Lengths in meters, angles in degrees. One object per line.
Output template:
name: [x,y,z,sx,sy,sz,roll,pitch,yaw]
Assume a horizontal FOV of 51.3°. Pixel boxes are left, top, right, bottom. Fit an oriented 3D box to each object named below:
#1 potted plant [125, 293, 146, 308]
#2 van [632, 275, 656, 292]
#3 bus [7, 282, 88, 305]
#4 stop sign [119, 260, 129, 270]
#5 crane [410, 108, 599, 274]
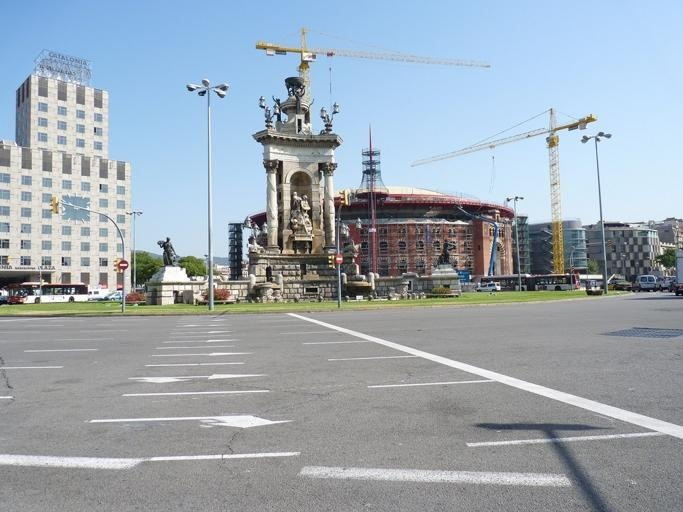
potted plant: [-14.484,3.193,49.718,1.908,0.880,2.565,0,-2,-8]
van: [31.817,2.953,74.404,2.308,1.988,4.104,-1,2,28]
bus: [-31.146,4.031,75.315,6.461,3.445,4.746,1,-3,-18]
stop sign: [-11.189,0.499,36.362,0.537,0.548,0.126,1,7,-6]
crane: [33.222,-11.738,115.826,50.217,27.629,9.395,-3,-3,20]
